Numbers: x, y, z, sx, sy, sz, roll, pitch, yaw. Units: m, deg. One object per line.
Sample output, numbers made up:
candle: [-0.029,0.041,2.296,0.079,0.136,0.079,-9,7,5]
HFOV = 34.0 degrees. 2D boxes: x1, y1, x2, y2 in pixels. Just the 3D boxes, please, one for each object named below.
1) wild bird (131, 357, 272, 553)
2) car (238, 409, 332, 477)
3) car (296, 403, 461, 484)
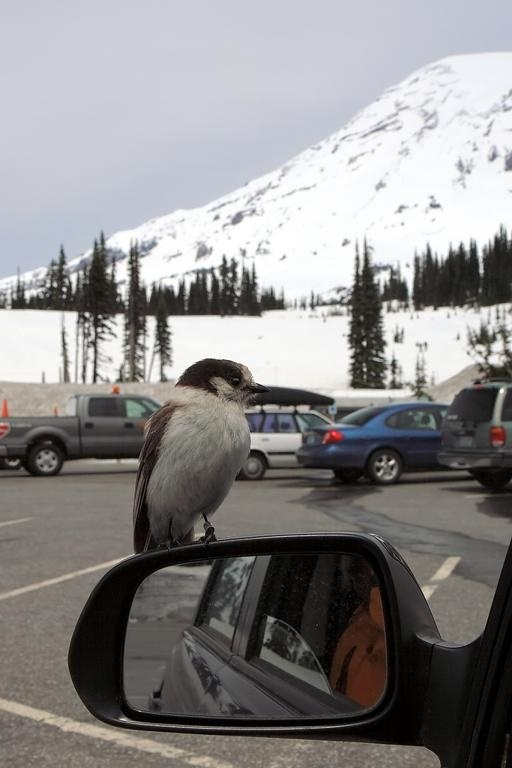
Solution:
wild bird: [-0.341,0.310,4.151,0.639,0.923,0.536,-6,-7,4]
car: [0.535,1.176,17.946,1.941,1.038,1.185,-4,-2,-8]
car: [2.102,0.936,14.176,2.616,0.948,1.231,-7,2,-20]
